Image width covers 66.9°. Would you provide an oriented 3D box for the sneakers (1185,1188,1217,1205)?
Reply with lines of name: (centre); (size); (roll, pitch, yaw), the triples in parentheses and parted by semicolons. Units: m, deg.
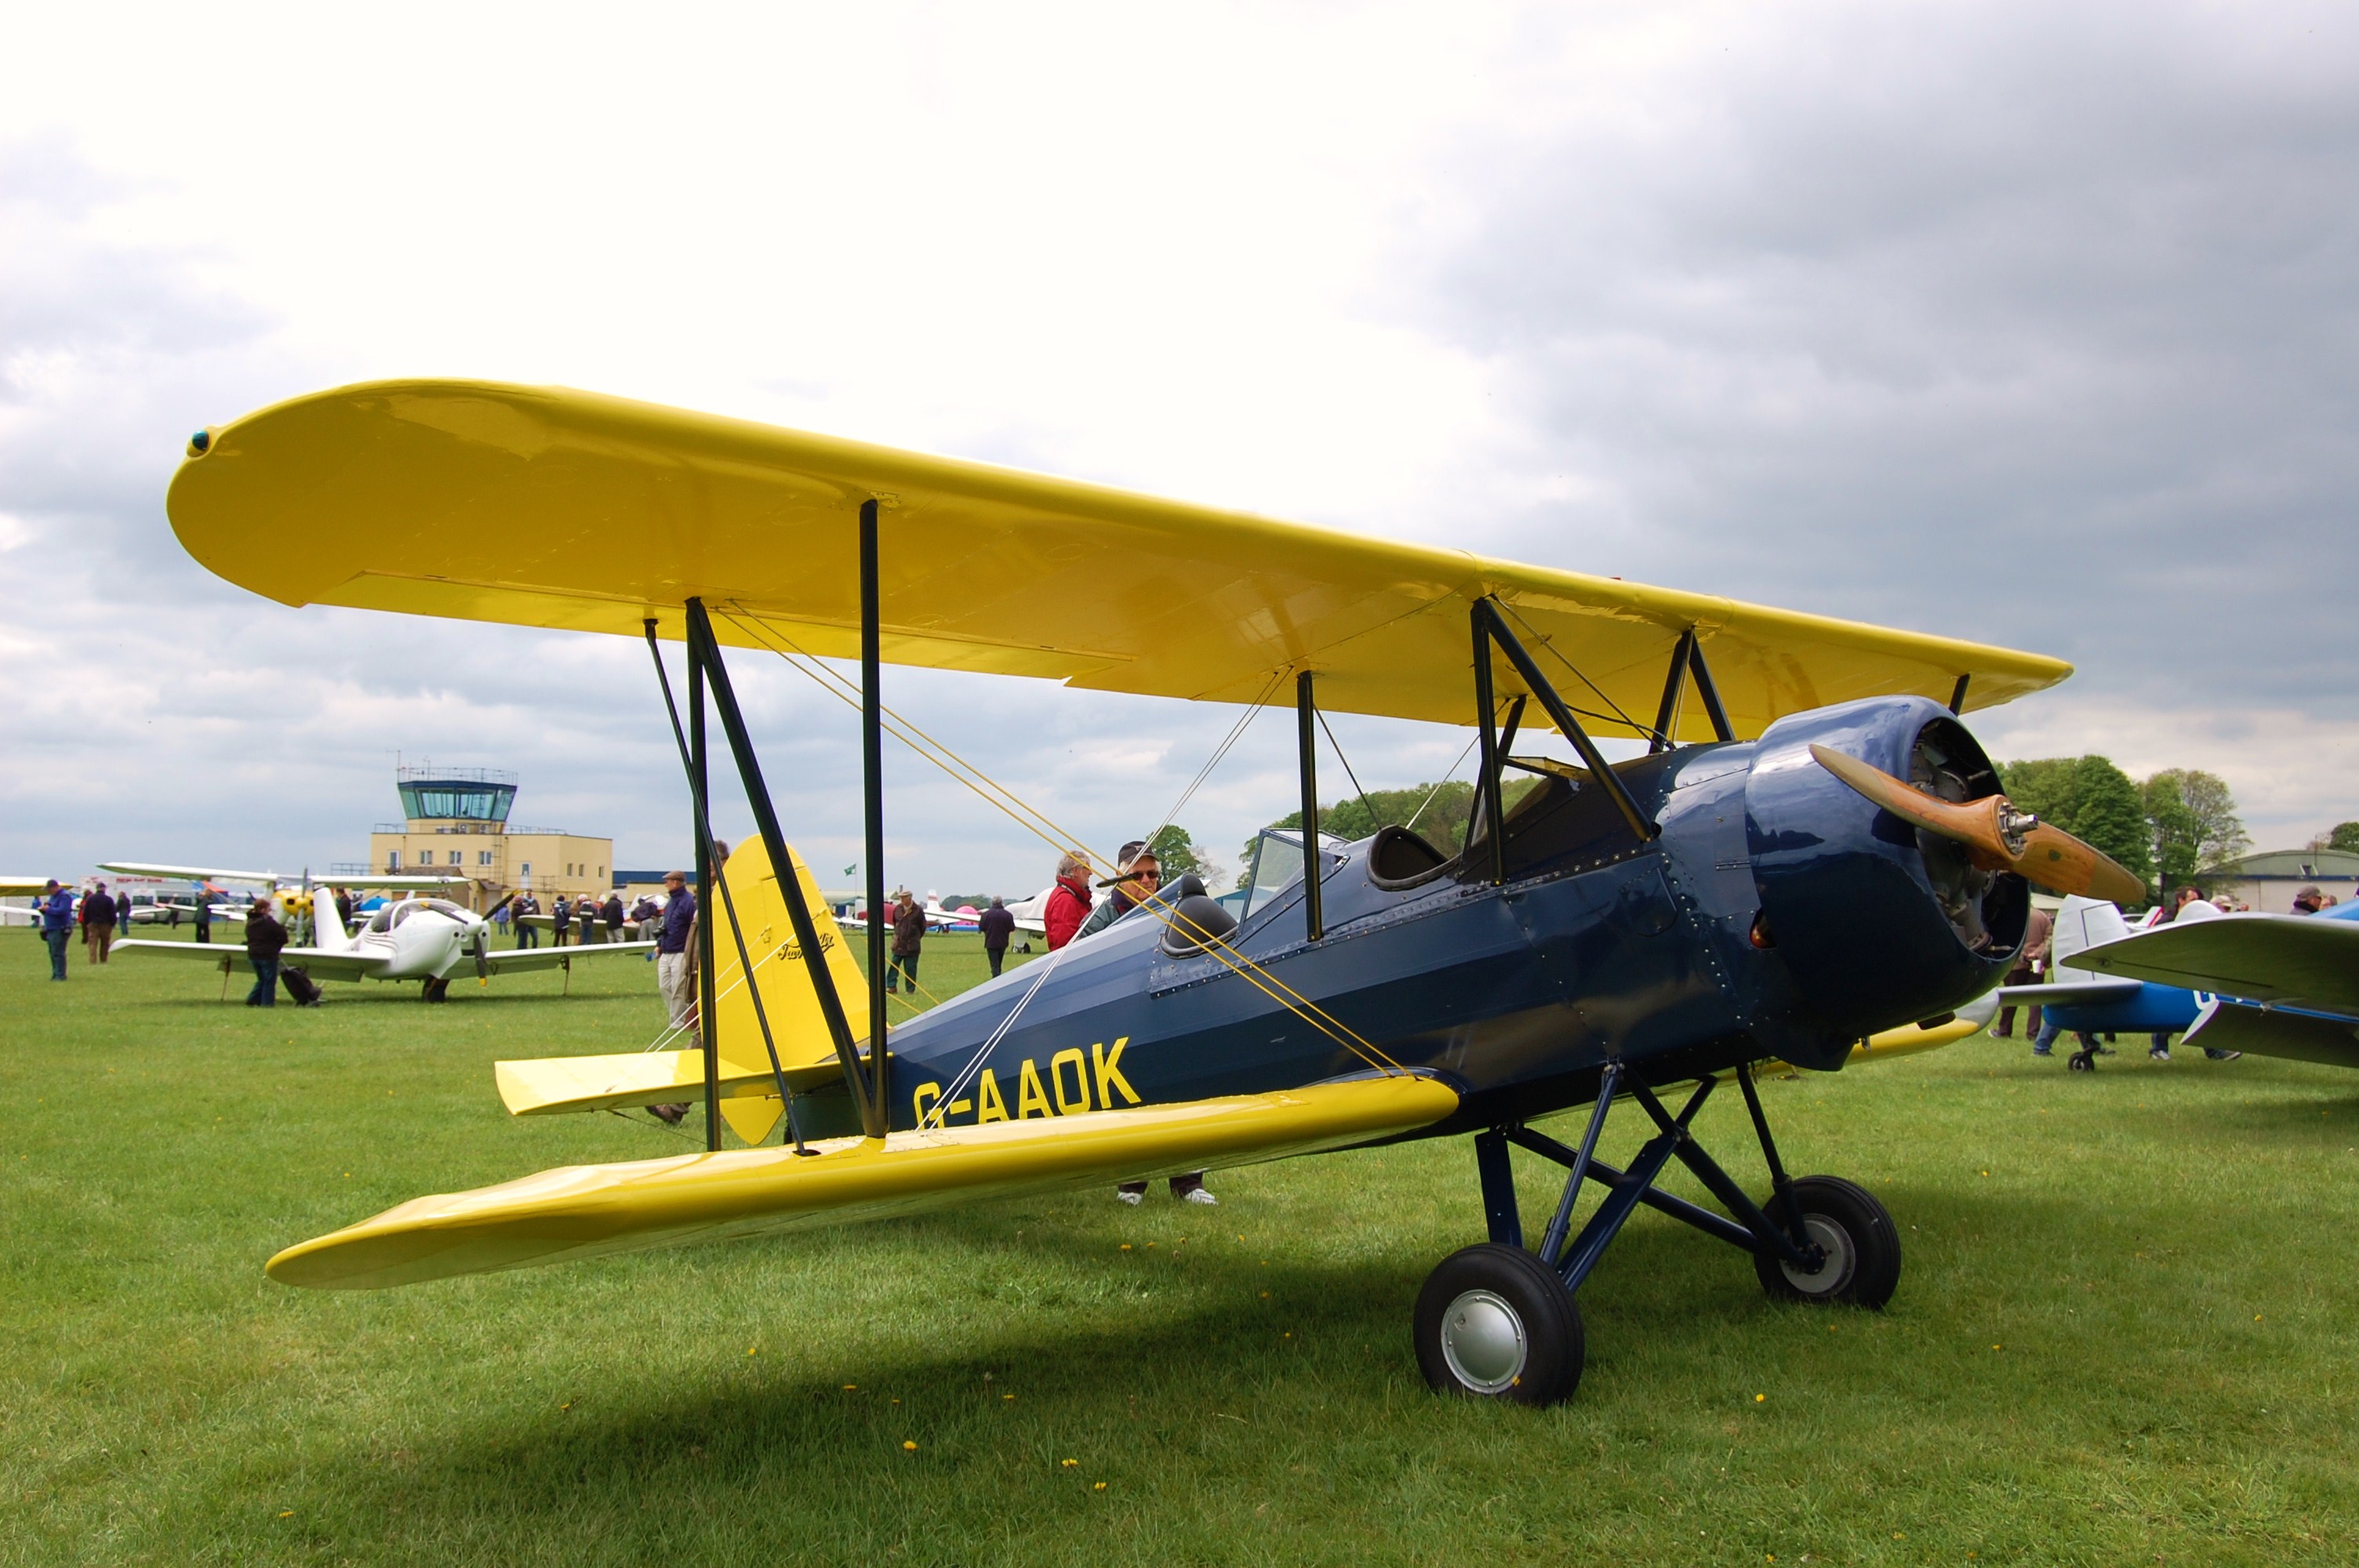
sneakers: (0.119, 2.133, 9.173); (0.076, 0.049, 0.132); (4, -10, -25)
